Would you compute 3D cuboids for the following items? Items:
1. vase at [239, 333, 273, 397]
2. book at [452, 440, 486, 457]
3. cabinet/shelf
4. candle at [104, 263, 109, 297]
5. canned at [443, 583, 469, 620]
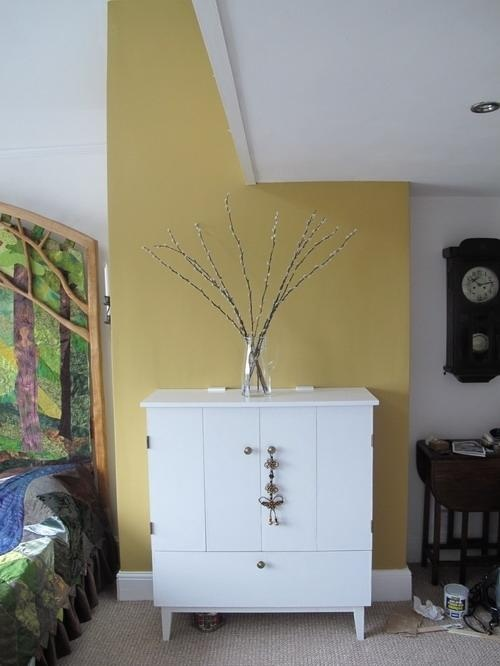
[{"bbox_3d":[0.028,0.148,2.622,0.136,0.261,0.159,-2,7,-4],"label":"vase"},{"bbox_3d":[1.090,0.556,2.870,0.153,0.037,0.269,1,7,22],"label":"book"},{"bbox_3d":[0.049,0.795,2.492,1.050,1.076,0.417,-1,3,2],"label":"cabinet/shelf"},{"bbox_3d":[-0.729,-0.269,2.924,0.018,0.161,0.243,-4,7,-17],"label":"candle"},{"bbox_3d":[0.934,1.219,2.613,0.123,0.133,0.128,-1,3,8],"label":"canned"}]
